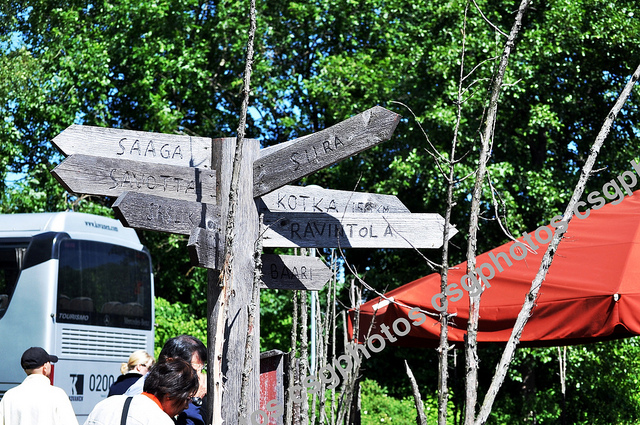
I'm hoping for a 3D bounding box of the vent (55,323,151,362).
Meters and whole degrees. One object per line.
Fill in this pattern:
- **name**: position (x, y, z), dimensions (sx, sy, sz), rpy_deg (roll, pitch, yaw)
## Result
- **vent**: position (-4.247, 2.656, 30.175), dimensions (2.099, 0.679, 0.284), rpy_deg (2, 2, 16)
